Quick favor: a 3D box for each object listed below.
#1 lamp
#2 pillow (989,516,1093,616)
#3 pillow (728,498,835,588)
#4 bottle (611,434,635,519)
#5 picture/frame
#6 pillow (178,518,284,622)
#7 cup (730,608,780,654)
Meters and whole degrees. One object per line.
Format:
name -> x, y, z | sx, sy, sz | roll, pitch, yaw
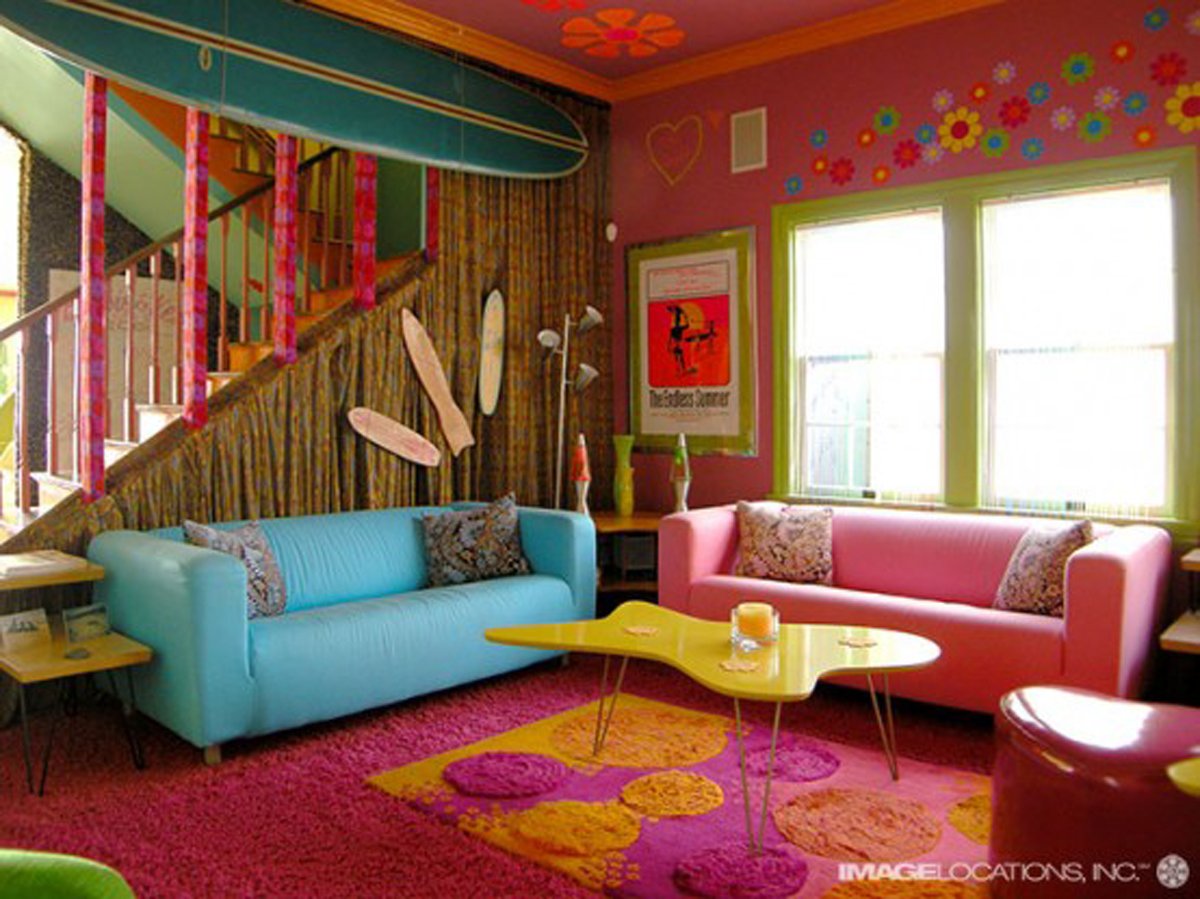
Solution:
lamp -> -0.192, -0.273, 5.874 | 0.420, 1.291, 0.744 | -1, 9, -2
pillow -> 1.977, 0.529, 4.066 | 0.122, 0.410, 0.413 | 21, -9, -17
pillow -> 0.948, 0.496, 4.747 | 0.431, 0.423, 0.143 | 1, -17, 20
bottle -> 0.141, 0.160, 5.770 | 0.114, 0.491, 0.242 | -1, 9, -6
picture/frame -> 0.608, -0.688, 5.826 | 0.990, 1.367, 0.198 | 8, 12, 42
pillow -> -1.597, 0.519, 4.051 | 0.393, 0.429, 0.371 | 8, 12, 42
cup -> 0.575, 0.655, 3.399 | 0.152, 0.139, 0.154 | 0, 2, 0
